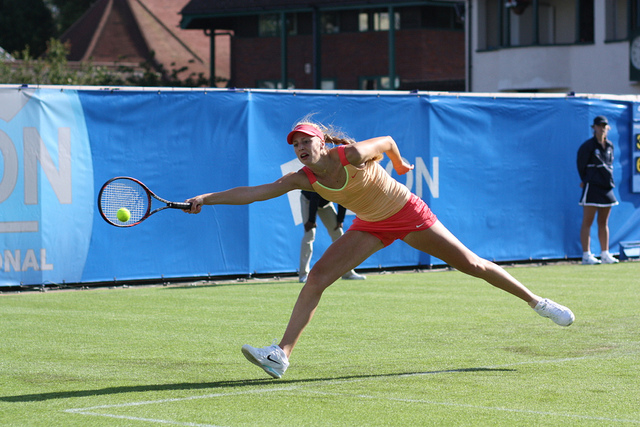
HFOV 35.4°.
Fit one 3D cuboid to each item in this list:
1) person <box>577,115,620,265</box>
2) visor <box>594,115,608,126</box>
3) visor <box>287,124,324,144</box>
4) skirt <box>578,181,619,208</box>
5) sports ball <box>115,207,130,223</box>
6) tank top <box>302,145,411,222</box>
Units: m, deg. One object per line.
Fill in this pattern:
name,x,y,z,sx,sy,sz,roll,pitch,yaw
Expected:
person,5.399,-0.436,19.590,0.759,2.892,0.352,1,11,11
visor,5.453,-1.809,19.404,0.165,0.133,0.256,9,10,43
visor,-0.173,-0.996,12.406,0.453,0.224,0.327,-2,11,-6
skirt,5.445,-0.421,19.743,0.919,0.583,0.483,2,-2,-32
sports ball,-2.654,0.013,13.589,0.178,0.182,0.178,-5,13,1
tank top,0.454,-0.327,12.596,1.212,0.789,0.436,28,-7,-1
